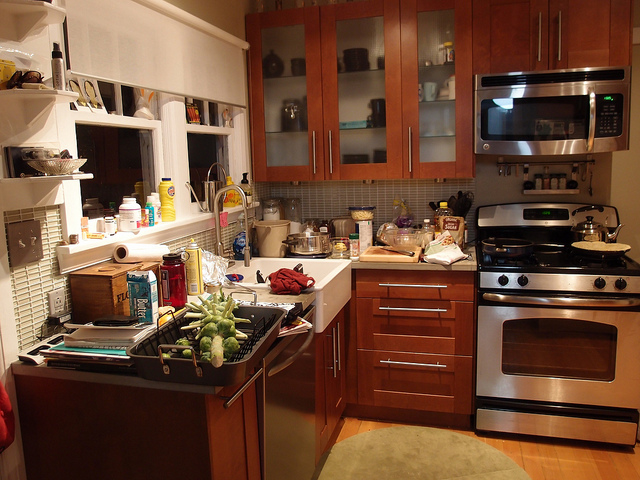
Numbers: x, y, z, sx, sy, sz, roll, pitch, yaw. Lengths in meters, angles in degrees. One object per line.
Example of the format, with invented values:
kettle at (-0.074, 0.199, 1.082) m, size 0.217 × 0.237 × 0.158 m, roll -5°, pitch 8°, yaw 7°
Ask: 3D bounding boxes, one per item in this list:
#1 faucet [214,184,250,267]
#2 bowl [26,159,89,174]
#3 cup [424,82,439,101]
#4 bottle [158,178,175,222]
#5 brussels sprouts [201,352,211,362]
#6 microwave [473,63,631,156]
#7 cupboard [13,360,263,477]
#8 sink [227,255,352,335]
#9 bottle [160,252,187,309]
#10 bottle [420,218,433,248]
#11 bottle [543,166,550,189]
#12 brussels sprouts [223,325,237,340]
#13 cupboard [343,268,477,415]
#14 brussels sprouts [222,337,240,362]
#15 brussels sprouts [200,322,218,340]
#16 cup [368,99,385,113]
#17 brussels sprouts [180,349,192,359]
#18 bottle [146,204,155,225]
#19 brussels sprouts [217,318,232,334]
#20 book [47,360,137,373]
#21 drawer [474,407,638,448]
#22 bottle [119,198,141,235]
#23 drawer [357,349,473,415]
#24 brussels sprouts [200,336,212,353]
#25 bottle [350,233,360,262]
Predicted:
faucet at (-0.523, -0.098, 2.860) m, size 0.203 × 0.459 × 0.371 m, roll -4°, pitch 14°, yaw -10°
bowl at (-1.026, -0.289, 1.925) m, size 0.110 × 0.066 × 0.197 m, roll 6°, pitch 16°, yaw 29°
cup at (0.739, -0.992, 3.263) m, size 0.120 × 0.112 × 0.076 m, roll -3°, pitch 3°, yaw -42°
bottle at (-0.835, -0.215, 2.664) m, size 0.084 × 0.233 × 0.084 m, roll -2°, pitch 14°, yaw 0°
brussels sprouts at (-0.394, 0.399, 1.659) m, size 0.021 × 0.026 × 0.012 m, roll 1°, pitch -37°, yaw 7°
microwave at (1.434, -0.786, 3.059) m, size 0.851 × 0.551 × 0.571 m, roll 1°, pitch 5°, yaw 22°
cupboard at (-0.674, 0.684, 2.236) m, size 1.116 × 0.626 × 0.588 m, roll 0°, pitch -6°, yaw 11°
sink at (-0.101, 0.314, 3.016) m, size 0.424 × 0.247 × 0.575 m, roll 2°, pitch 14°, yaw 10°
bottle at (-0.657, 0.188, 2.179) m, size 0.108 × 0.231 × 0.072 m, roll -8°, pitch 15°, yaw -22°
bottle at (0.731, -0.043, 3.376) m, size 0.085 × 0.174 × 0.182 m, roll 1°, pitch 14°, yaw 13°
bottle at (1.541, -0.422, 3.343) m, size 0.041 × 0.139 × 0.059 m, roll 1°, pitch 14°, yaw 11°
brussels sprouts at (-0.326, 0.332, 1.759) m, size 0.033 × 0.037 × 0.046 m, roll 3°, pitch 40°, yaw 2°
cupboard at (0.662, 0.660, 3.399) m, size 0.818 × 0.964 × 0.665 m, roll 0°, pitch -5°, yaw 10°
brussels sprouts at (-0.316, 0.387, 1.719) m, size 0.052 × 0.072 × 0.032 m, roll 11°, pitch -6°, yaw -19°
brussels sprouts at (-0.396, 0.328, 1.747) m, size 0.043 × 0.032 × 0.056 m, roll 11°, pitch -31°, yaw -25°
cup at (0.387, -0.919, 3.349) m, size 0.093 × 0.072 × 0.072 m, roll 0°, pitch 6°, yaw 11°
brussels sprouts at (-0.465, 0.398, 1.701) m, size 0.036 × 0.029 × 0.028 m, roll -22°, pitch -31°, yaw -9°
bottle at (-0.877, -0.131, 2.530) m, size 0.027 × 0.104 × 0.025 m, roll -2°, pitch 14°, yaw 0°
brussels sprouts at (-0.344, 0.308, 1.749) m, size 0.037 × 0.051 × 0.041 m, roll 8°, pitch -31°, yaw 13°
book at (-0.825, 0.471, 1.816) m, size 0.138 × 0.020 × 0.140 m, roll 2°, pitch -6°, yaw -3°
drawer at (1.398, 1.119, 2.934) m, size 0.890 × 0.149 × 0.057 m, roll 1°, pitch 14°, yaw 14°
bottle at (-0.920, -0.116, 2.373) m, size 0.112 × 0.178 × 0.094 m, roll -10°, pitch 16°, yaw -30°
drawer at (0.675, 0.954, 3.394) m, size 0.742 × 0.365 × 0.525 m, roll -2°, pitch -16°, yaw 16°
brussels sprouts at (-0.402, 0.370, 1.717) m, size 0.036 × 0.049 × 0.039 m, roll -9°, pitch 2°, yaw -8°
bottle at (0.222, 0.047, 3.188) m, size 0.059 × 0.160 × 0.148 m, roll -1°, pitch 14°, yaw 3°
